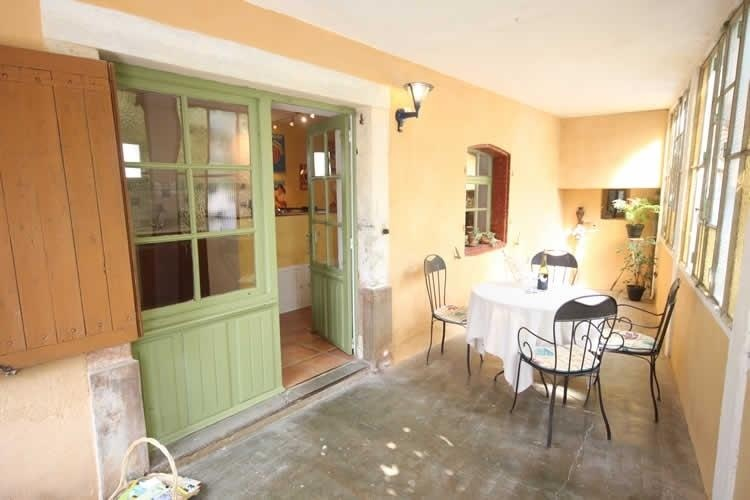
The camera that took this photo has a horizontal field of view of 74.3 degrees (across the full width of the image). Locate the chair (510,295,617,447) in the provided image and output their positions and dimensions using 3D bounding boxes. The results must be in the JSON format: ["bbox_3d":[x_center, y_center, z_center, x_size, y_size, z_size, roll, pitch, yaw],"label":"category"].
[{"bbox_3d":[1.686,0.920,4.230,1.020,1.170,0.796,-9,14,-37],"label":"chair"}]

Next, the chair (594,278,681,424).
[{"bbox_3d":[2.350,0.866,4.576,0.737,1.059,0.685,3,4,30],"label":"chair"}]

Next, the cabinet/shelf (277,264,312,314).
[{"bbox_3d":[-1.077,0.495,6.580,0.142,0.589,0.504,7,14,37],"label":"cabinet/shelf"}]

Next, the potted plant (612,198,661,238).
[{"bbox_3d":[3.802,-0.450,7.242,0.682,0.538,0.667,5,-1,-10],"label":"potted plant"}]

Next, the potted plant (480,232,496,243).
[{"bbox_3d":[1.492,-0.157,6.491,0.220,0.128,0.176,0,10,8],"label":"potted plant"}]
